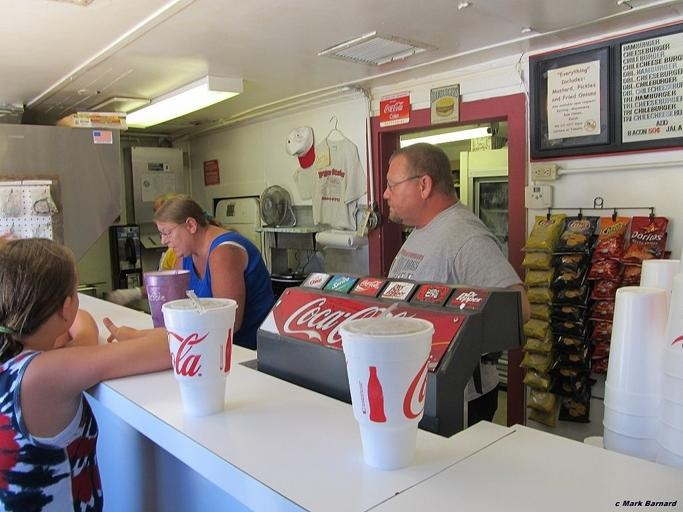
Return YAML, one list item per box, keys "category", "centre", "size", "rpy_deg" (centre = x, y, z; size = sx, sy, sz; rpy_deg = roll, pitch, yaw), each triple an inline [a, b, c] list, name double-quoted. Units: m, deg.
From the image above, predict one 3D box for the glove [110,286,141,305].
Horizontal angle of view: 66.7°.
- category: "glove"
  centre: [-1.523, 0.271, 3.655]
  size: [0.197, 0.074, 0.202]
  rpy_deg: [-3, 3, -22]

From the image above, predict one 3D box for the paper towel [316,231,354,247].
- category: "paper towel"
  centre: [-0.039, -0.156, 4.651]
  size: [0.152, 0.123, 0.415]
  rpy_deg: [-9, 11, -41]

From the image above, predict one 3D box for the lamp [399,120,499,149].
- category: "lamp"
  centre: [0.999, -1.125, 4.753]
  size: [0.680, 0.168, 0.459]
  rpy_deg: [4, 15, 31]

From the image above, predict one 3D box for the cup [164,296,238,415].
- category: "cup"
  centre: [-0.336, 0.240, 1.262]
  size: [0.164, 0.299, 0.098]
  rpy_deg: [-3, 8, -6]

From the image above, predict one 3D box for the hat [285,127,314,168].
- category: "hat"
  centre: [-0.366, -1.048, 5.017]
  size: [0.288, 0.398, 0.225]
  rpy_deg: [4, 10, 33]

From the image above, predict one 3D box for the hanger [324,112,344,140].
- category: "hanger"
  centre: [-0.061, -1.206, 4.794]
  size: [0.012, 0.292, 0.267]
  rpy_deg: [-10, 13, -44]
